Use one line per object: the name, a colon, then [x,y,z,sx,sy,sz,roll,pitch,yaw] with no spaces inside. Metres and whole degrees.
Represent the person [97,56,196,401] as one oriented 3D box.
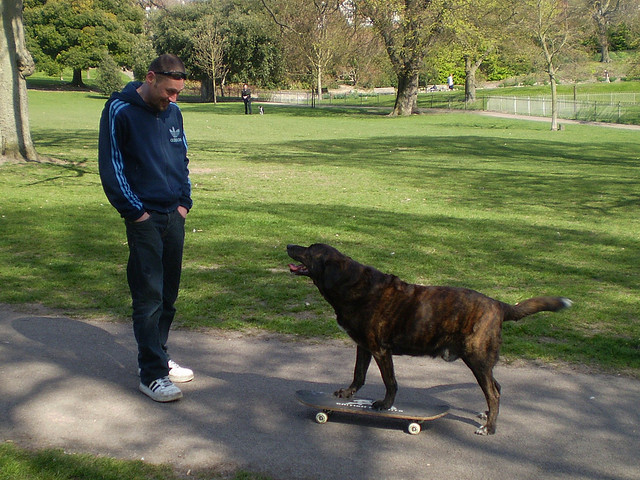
person: [-1.819,-0.150,7.339,0.868,3.451,1.068,0,13,-3]
